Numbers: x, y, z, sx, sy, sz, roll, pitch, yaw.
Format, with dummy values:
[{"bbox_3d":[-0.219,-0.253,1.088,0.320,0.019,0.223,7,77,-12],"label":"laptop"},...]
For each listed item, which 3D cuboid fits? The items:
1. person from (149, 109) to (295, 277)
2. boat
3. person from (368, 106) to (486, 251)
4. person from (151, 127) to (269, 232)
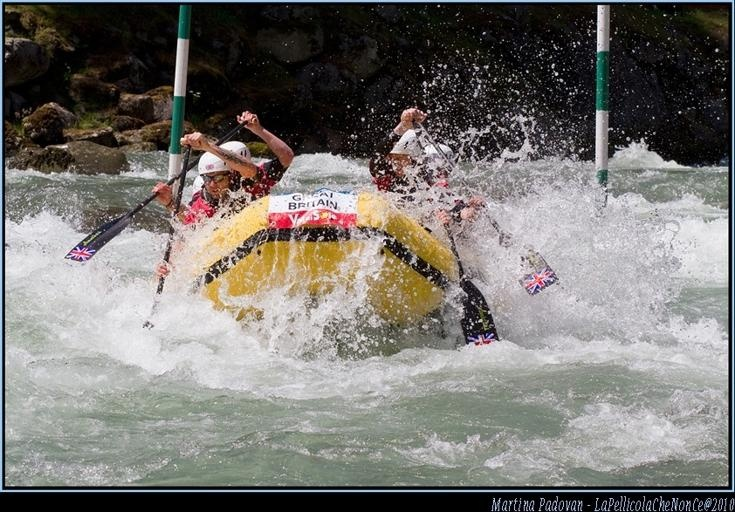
[{"bbox_3d":[-1.492,-0.561,10.062,1.015,1.284,0.647,-22,-34,7],"label":"person"},{"bbox_3d":[-0.446,0.306,10.618,2.722,0.956,2.983,3,-13,5],"label":"boat"},{"bbox_3d":[0.527,-0.795,10.199,0.890,1.315,0.445,-15,-8,2],"label":"person"},{"bbox_3d":[-1.422,-0.696,10.319,1.072,0.556,1.413,-32,-17,27],"label":"person"}]
